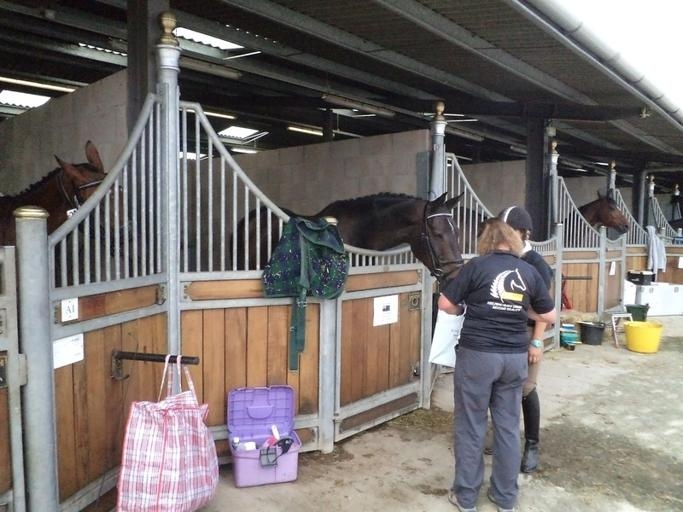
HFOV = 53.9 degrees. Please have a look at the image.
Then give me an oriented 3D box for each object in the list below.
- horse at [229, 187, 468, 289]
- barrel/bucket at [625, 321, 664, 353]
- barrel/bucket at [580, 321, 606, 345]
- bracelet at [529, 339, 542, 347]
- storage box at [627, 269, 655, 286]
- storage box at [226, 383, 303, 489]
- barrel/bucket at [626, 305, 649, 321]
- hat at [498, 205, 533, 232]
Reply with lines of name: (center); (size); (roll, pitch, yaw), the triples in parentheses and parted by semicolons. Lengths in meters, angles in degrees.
horse: (0.094, -0.188, 6.506); (2.499, 1.045, 0.618); (10, 14, 34)
barrel/bucket: (3.814, 1.025, 8.532); (0.376, 0.297, 0.387); (-1, 2, 0)
barrel/bucket: (3.298, 1.016, 8.875); (0.281, 0.244, 0.293); (1, 0, 0)
bracelet: (1.448, 0.656, 5.009); (0.051, 0.041, 0.065); (0, 1, -1)
storage box: (4.837, 0.363, 10.955); (0.315, 0.215, 0.308); (-6, 8, -43)
storage box: (-0.578, 1.320, 4.924); (0.473, 0.627, 0.392); (-1, 6, -20)
barrel/bucket: (4.448, 0.836, 10.088); (0.269, 0.230, 0.285); (0, 9, 0)
hat: (1.323, -0.284, 5.101); (0.229, 0.149, 0.180); (25, 13, 15)
